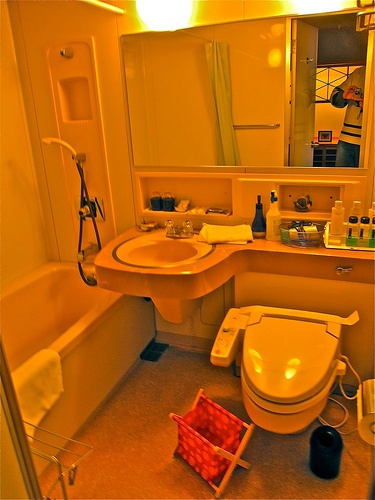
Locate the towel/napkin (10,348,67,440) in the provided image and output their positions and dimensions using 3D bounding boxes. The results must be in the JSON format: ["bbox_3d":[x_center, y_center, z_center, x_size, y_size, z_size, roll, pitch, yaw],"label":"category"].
[{"bbox_3d":[-0.594,0.543,1.480,0.073,0.243,0.239,3,23,23],"label":"towel/napkin"}]

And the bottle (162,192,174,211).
[{"bbox_3d":[-0.112,-0.272,2.106,0.073,0.092,0.081,-4,21,6],"label":"bottle"}]

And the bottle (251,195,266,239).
[{"bbox_3d":[0.360,-0.173,1.874,0.069,0.206,0.095,-1,21,12],"label":"bottle"}]

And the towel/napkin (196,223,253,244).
[{"bbox_3d":[0.185,-0.078,1.839,0.272,0.079,0.119,-3,22,7],"label":"towel/napkin"}]

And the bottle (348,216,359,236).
[{"bbox_3d":[0.735,-0.105,1.634,0.044,0.092,0.030,2,22,20],"label":"bottle"}]

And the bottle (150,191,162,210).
[{"bbox_3d":[-0.184,-0.281,2.134,0.073,0.097,0.063,0,22,15],"label":"bottle"}]

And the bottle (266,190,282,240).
[{"bbox_3d":[0.419,-0.168,1.808,0.072,0.244,0.155,0,22,14],"label":"bottle"}]

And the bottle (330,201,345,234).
[{"bbox_3d":[0.675,-0.145,1.665,0.049,0.172,0.049,-7,33,5],"label":"bottle"}]

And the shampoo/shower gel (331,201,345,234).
[{"bbox_3d":[0.680,-0.158,1.680,0.056,0.154,0.103,2,23,21],"label":"shampoo/shower gel"}]

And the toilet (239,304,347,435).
[{"bbox_3d":[0.444,0.432,1.568,0.400,0.323,0.493,6,34,23],"label":"toilet"}]

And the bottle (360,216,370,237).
[{"bbox_3d":[0.777,-0.098,1.618,0.041,0.093,0.032,4,23,25],"label":"bottle"}]

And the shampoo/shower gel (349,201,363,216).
[{"bbox_3d":[0.752,-0.190,1.644,0.049,0.069,0.085,4,24,25],"label":"shampoo/shower gel"}]
